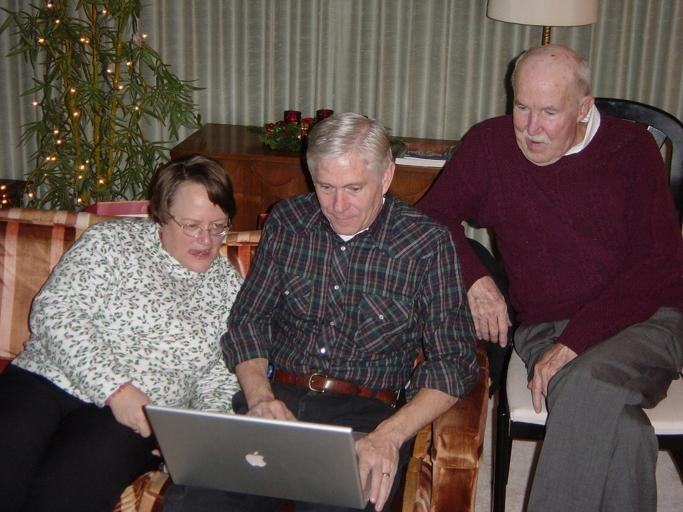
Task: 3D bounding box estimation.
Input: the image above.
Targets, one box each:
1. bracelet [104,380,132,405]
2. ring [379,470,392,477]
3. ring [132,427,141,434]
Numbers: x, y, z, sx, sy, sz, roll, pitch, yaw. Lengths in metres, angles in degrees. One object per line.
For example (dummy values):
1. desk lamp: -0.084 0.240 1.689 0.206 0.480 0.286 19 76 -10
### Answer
1. bracelet: -0.646 0.404 1.790 0.066 0.067 0.020 36 -13 14
2. ring: 0.114 0.577 1.620 0.018 0.010 0.025 -1 6 -17
3. ring: -0.598 0.514 1.800 0.019 0.021 0.016 38 16 -29
